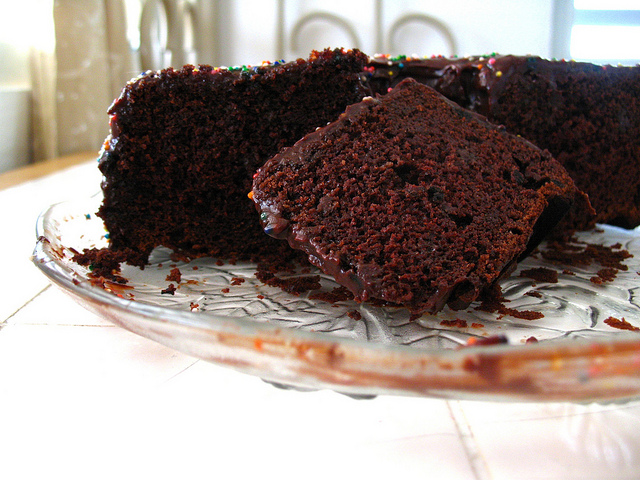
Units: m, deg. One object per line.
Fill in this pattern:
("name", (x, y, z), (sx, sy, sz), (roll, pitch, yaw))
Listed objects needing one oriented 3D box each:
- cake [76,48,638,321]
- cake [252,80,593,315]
("cake", (0.117, -0.046, 1.574), (0.947, 0.277, 0.918), (9, 19, 35))
("cake", (0.270, -0.136, 1.521), (0.169, 0.711, 0.624), (3, 59, 39))
